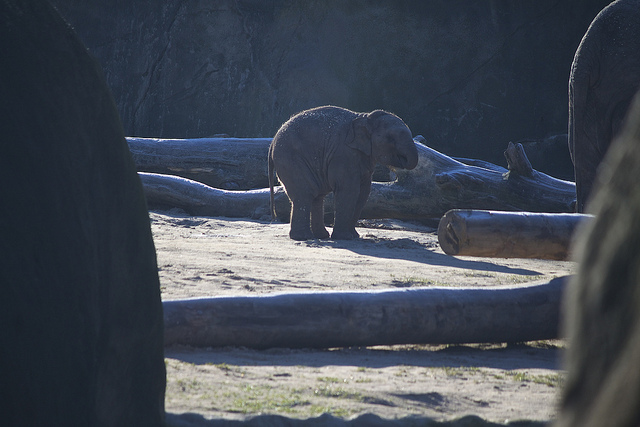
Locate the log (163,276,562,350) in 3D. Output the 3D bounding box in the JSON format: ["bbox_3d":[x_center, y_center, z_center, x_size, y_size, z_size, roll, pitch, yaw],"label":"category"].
[{"bbox_3d":[0.732,1.897,27.226,6.050,0.896,0.895,-1,22,-3],"label":"log"}]

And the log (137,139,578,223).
[{"bbox_3d":[0.419,-0.637,32.076,8.296,1.606,1.392,1,13,8],"label":"log"}]

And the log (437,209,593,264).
[{"bbox_3d":[4.131,0.459,30.145,3.833,1.076,0.957,3,-14,-37],"label":"log"}]
